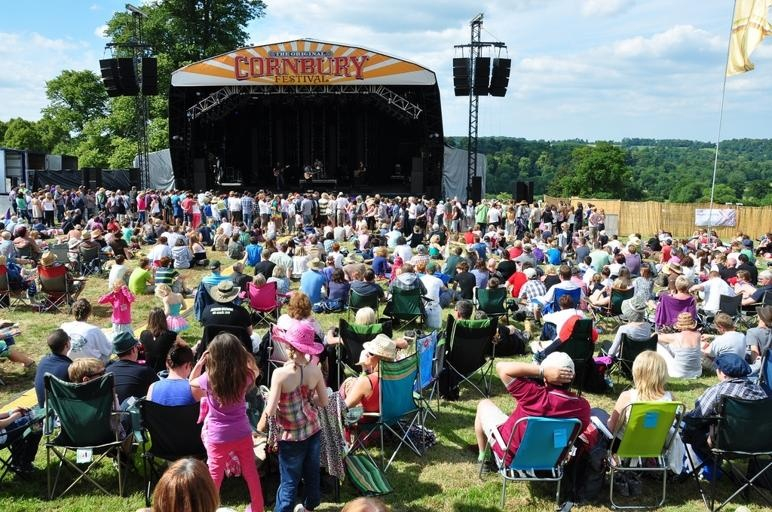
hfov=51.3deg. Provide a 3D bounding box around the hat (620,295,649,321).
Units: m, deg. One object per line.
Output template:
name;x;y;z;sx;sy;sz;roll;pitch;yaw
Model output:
hat;4.342;0.911;14.061;0.409;0.290;0.456;14;47;-6

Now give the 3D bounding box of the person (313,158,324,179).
person;-2.827;-3.720;34.707;0.746;0.737;0.586;-2;7;-8

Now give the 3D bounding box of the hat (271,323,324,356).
hat;-1.148;1.094;10.645;0.594;0.233;0.562;29;1;-36

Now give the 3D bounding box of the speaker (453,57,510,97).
speaker;3.598;-6.890;30.849;2.044;1.419;0.676;2;5;6

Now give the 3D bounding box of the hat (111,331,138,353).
hat;-3.865;1.262;11.794;0.315;0.325;0.258;0;5;-18

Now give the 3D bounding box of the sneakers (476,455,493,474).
sneakers;1.466;3.056;11.798;0.144;0.146;0.331;1;1;6

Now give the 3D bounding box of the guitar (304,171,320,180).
guitar;-3.229;-3.482;34.492;0.527;0.209;0.388;1;3;9

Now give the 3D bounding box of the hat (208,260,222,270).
hat;-3.362;0.202;15.684;0.229;0.171;0.319;2;23;5

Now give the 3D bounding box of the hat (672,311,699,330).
hat;5.251;1.142;14.117;0.289;0.189;0.346;-9;4;19

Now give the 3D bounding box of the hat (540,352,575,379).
hat;2.349;1.486;11.088;0.424;0.313;0.305;2;5;12

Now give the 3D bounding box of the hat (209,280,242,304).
hat;-2.843;0.636;14.006;0.375;0.169;0.429;12;18;-3

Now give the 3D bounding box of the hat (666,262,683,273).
hat;6.333;0.260;17.616;0.226;0.084;0.213;23;17;7

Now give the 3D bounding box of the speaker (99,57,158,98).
speaker;-10.523;-7.271;32.110;2.070;1.700;1.961;-2;5;-34
